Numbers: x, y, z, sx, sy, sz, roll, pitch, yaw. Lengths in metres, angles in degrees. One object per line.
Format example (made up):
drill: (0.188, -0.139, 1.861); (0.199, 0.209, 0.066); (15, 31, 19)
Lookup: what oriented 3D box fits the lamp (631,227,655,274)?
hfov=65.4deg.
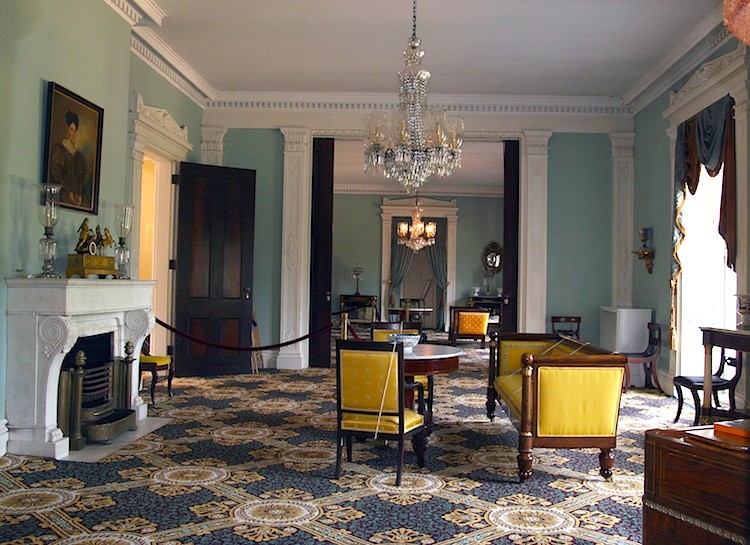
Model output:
lamp: (3.944, -0.332, 8.577); (0.192, 0.658, 0.435); (1, 4, 6)

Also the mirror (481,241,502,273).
mirror: (3.094, -0.393, 15.400); (0.483, 0.816, 0.299); (1, 4, 4)

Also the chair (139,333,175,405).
chair: (-2.801, 1.194, 7.556); (0.426, 0.719, 1.622); (-1, 5, -20)

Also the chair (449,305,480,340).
chair: (1.836, 1.008, 11.909); (0.586, 0.634, 0.615); (0, 2, 6)

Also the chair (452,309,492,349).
chair: (2.000, 1.069, 11.979); (0.757, 0.820, 0.756); (2, 3, 9)

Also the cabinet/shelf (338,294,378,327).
cabinet/shelf: (-0.400, 0.917, 15.551); (1.074, 1.120, 0.848); (0, -5, 0)

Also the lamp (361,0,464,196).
lamp: (0.428, -1.600, 6.291); (1.047, 1.457, 0.508); (1, 4, 0)

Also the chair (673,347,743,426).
chair: (3.657, 1.234, 6.429); (0.636, 0.855, 1.038); (4, 5, 33)

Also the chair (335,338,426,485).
chair: (0.056, 1.136, 5.006); (0.786, 1.166, 0.487); (1, 4, 3)

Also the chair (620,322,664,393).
chair: (3.730, 1.174, 8.084); (0.517, 0.956, 0.690); (3, 5, 25)
